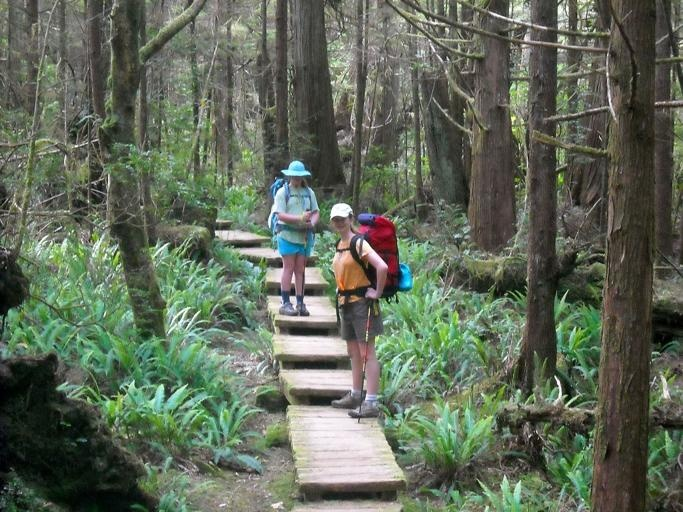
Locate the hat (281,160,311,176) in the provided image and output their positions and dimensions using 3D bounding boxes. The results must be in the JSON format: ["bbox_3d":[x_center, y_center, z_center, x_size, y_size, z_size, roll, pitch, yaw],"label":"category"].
[{"bbox_3d":[-0.829,-1.530,13.967,0.571,0.325,0.707,1,12,-5],"label":"hat"}]

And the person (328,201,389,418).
[{"bbox_3d":[0.242,0.703,10.105,0.846,2.703,0.478,2,4,33],"label":"person"}]

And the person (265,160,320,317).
[{"bbox_3d":[-0.739,-0.132,12.242,0.723,2.155,0.630,-1,3,-8],"label":"person"}]

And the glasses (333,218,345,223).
[{"bbox_3d":[-0.044,-0.457,10.025,0.081,0.066,0.124,6,12,17],"label":"glasses"}]
